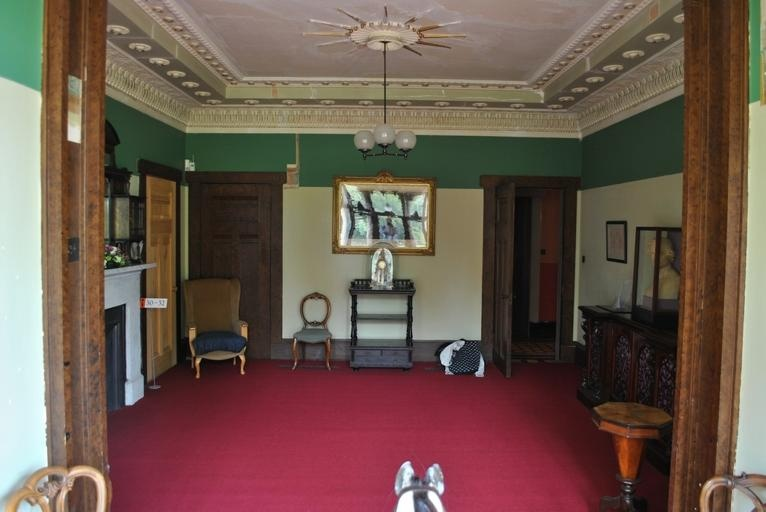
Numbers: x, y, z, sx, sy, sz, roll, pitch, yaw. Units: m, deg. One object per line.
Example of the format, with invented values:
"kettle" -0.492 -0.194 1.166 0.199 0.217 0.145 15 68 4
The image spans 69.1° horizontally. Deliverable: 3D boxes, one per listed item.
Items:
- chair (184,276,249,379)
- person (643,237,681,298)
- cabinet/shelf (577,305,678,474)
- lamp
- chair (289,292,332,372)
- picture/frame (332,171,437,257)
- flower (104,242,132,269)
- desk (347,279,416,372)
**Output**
"chair" -2.274 0.931 7.553 0.842 1.304 0.877 -2 1 -40
"person" 2.738 0.126 5.429 0.303 0.790 0.574 1 2 10
"cabinet/shelf" 2.339 1.272 5.265 0.365 0.717 1.427 1 2 4
"lamp" 0.023 -1.745 6.068 0.689 1.359 0.689 -1 1 -41
"chair" -1.018 1.055 7.877 0.575 0.981 0.601 0 9 -6
"picture/frame" -0.030 -0.644 8.045 1.138 1.034 0.055 0 5 0
"flower" -2.795 -0.003 5.824 0.208 0.175 0.237 12 3 24
"desk" -0.036 0.968 7.895 1.099 1.507 0.586 1 -7 -1
